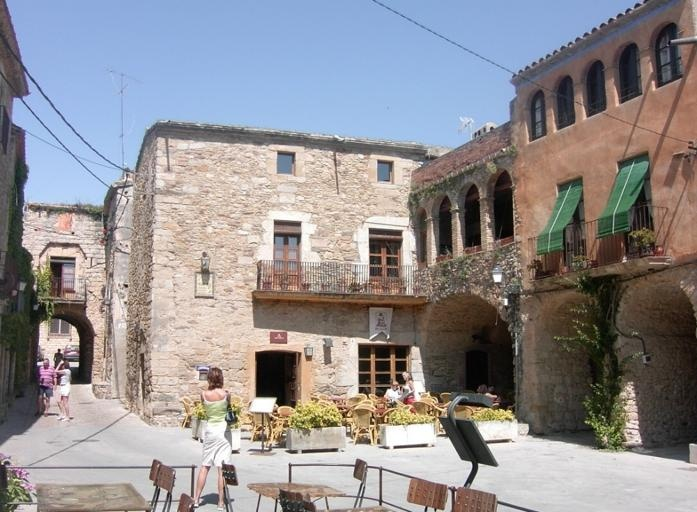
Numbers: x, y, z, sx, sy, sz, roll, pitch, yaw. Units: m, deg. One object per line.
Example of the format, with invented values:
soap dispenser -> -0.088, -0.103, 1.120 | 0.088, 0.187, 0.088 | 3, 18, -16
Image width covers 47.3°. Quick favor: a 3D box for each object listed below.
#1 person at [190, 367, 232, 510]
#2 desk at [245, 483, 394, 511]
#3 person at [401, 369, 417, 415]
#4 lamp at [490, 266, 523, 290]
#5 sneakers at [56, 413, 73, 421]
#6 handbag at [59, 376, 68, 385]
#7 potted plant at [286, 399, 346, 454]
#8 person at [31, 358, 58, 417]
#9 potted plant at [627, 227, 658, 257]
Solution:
person -> -2.155, 2.933, 12.858 | 0.533, 2.250, 1.598 | 4, -14, -9
desk -> -0.776, 3.568, 11.722 | 1.286, 0.431, 2.303 | 6, -16, -18
person -> 1.558, 3.505, 20.590 | 0.570, 0.693, 1.588 | -2, 23, 5
lamp -> 4.064, 0.588, 20.465 | 0.614, 0.804, 0.559 | -1, 3, -2
sneakers -> -7.724, 4.390, 21.579 | 0.412, 0.149, 0.234 | -5, -12, 37
handbag -> -7.745, 3.399, 21.643 | 0.224, 0.348, 0.264 | 0, -8, -32
potted plant -> -0.727, 3.767, 17.475 | 1.272, 1.233, 1.000 | 5, -14, -22
person -> -8.638, 3.769, 22.694 | 0.448, 1.550, 2.406 | 7, -16, -20
potted plant -> 6.408, -0.278, 17.484 | 0.550, 0.695, 0.628 | 4, -10, 6
